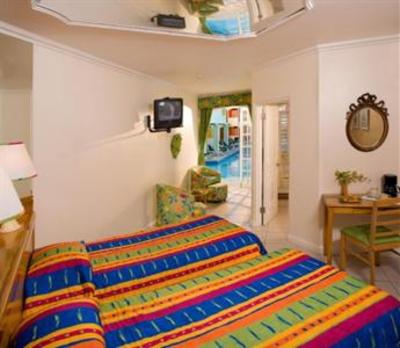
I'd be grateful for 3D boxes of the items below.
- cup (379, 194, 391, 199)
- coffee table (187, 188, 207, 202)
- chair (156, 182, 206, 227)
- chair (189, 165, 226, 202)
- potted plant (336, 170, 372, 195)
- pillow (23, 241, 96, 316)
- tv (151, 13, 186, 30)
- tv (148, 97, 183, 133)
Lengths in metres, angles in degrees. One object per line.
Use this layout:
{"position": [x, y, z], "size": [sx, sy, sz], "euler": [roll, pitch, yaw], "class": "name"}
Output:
{"position": [2.228, 0.270, 3.464], "size": [0.092, 0.044, 0.065], "euler": [1, -1, 9], "class": "cup"}
{"position": [0.003, 0.509, 6.379], "size": [0.349, 0.244, 0.330], "euler": [-1, 3, -4], "class": "coffee table"}
{"position": [-0.282, 0.521, 4.761], "size": [0.791, 0.708, 0.681], "euler": [-3, 6, -20], "class": "chair"}
{"position": [0.237, 0.275, 7.389], "size": [0.959, 0.907, 0.743], "euler": [1, 7, 18], "class": "chair"}
{"position": [2.007, 0.093, 3.807], "size": [0.308, 0.323, 0.401], "euler": [-2, 4, -42], "class": "potted plant"}
{"position": [-1.137, 0.796, 2.192], "size": [0.365, 0.122, 0.420], "euler": [-6, 52, -40], "class": "pillow"}
{"position": [-0.313, -1.570, 3.009], "size": [0.229, 0.085, 0.160], "euler": [-3, 19, -23], "class": "tv"}
{"position": [-0.657, -1.097, 5.263], "size": [0.372, 0.606, 0.679], "euler": [17, 24, 39], "class": "tv"}
